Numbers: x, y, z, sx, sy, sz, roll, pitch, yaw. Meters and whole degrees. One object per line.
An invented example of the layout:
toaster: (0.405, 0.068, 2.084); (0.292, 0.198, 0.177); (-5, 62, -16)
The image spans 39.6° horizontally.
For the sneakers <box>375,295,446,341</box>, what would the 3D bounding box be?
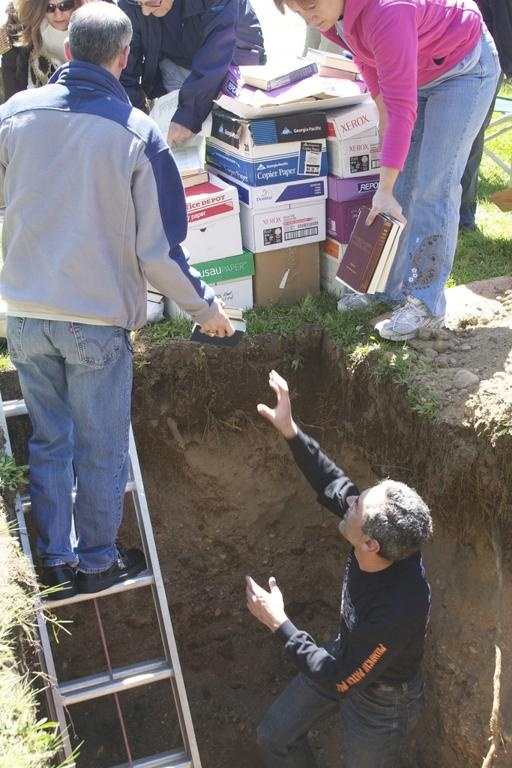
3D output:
sneakers: (0.953, -0.381, 4.156); (0.480, 0.219, 0.177); (-16, 59, 8)

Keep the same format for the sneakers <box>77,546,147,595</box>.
sneakers: (-0.634, 0.824, 3.140); (0.101, 0.117, 0.306); (19, 20, 29)

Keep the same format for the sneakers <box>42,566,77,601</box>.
sneakers: (-0.804, 0.815, 2.902); (0.078, 0.083, 0.200); (0, 5, -4)
